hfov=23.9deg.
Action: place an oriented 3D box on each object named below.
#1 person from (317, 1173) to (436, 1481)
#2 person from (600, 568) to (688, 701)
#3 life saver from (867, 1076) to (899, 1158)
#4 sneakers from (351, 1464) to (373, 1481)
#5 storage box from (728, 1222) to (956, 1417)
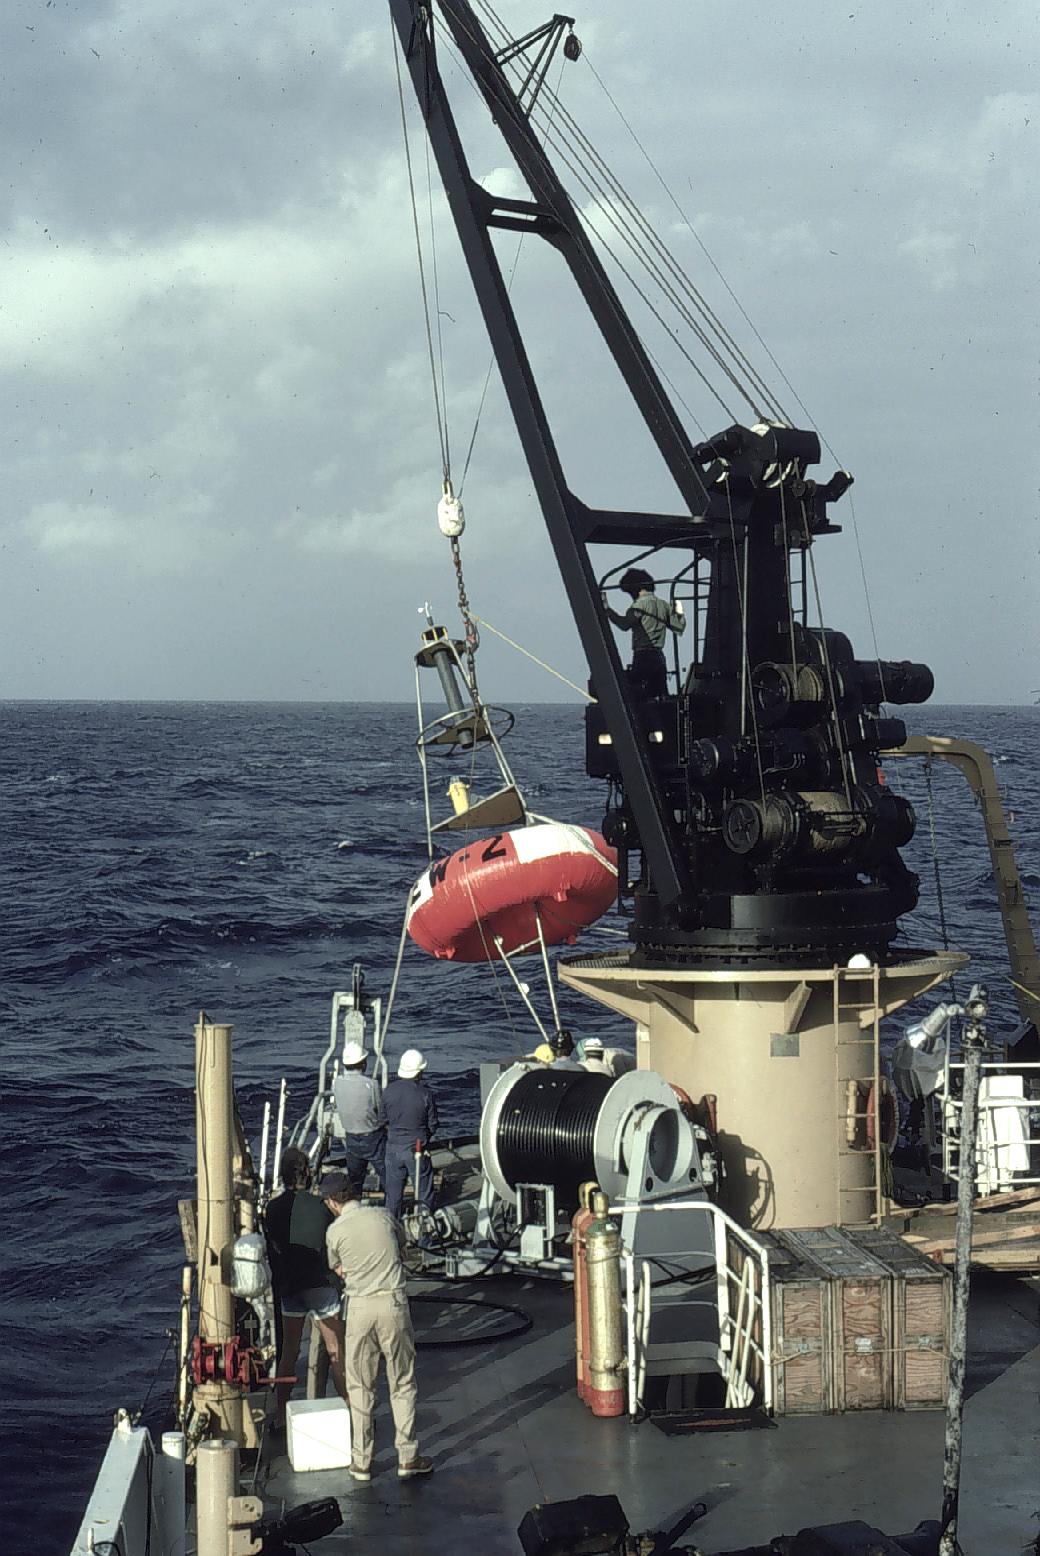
[{"bbox_3d":[-0.861,3.166,14.488,0.578,1.745,0.909,-1,3,-5],"label":"person"},{"bbox_3d":[0.987,-1.154,19.390,0.548,1.000,0.637,0,3,4],"label":"person"},{"bbox_3d":[2.631,2.462,18.138,0.280,0.572,1.108,0,3,7],"label":"life saver"},{"bbox_3d":[-0.902,3.976,14.154,0.056,0.055,0.126,2,-10,-22],"label":"sneakers"},{"bbox_3d":[2.081,3.340,15.124,1.105,0.840,1.043,0,3,5],"label":"storage box"}]
